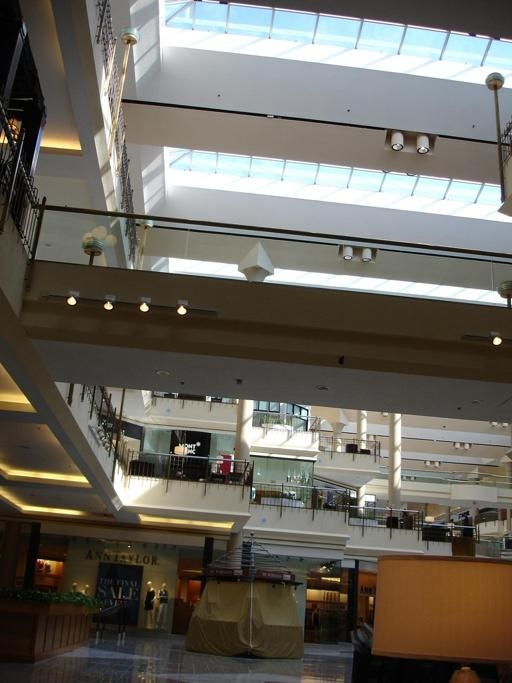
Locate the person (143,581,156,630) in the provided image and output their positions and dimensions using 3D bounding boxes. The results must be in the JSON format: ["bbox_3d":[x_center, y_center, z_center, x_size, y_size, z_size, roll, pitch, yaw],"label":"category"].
[{"bbox_3d":[-3.375,8.290,18.614,0.298,1.077,0.249,10,-21,-15],"label":"person"}]

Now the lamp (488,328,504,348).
[{"bbox_3d":[3.036,-0.039,7.571,0.169,0.226,0.288,-10,-25,32],"label":"lamp"}]

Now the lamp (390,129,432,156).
[{"bbox_3d":[3.286,-4.144,12.713,0.962,0.450,0.584,4,-21,1],"label":"lamp"}]

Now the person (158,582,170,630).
[{"bbox_3d":[-2.958,8.244,18.671,0.340,1.247,0.255,6,-21,-6],"label":"person"}]

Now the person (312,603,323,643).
[{"bbox_3d":[1.939,9.157,19.443,0.316,1.033,0.256,6,-21,-4],"label":"person"}]
